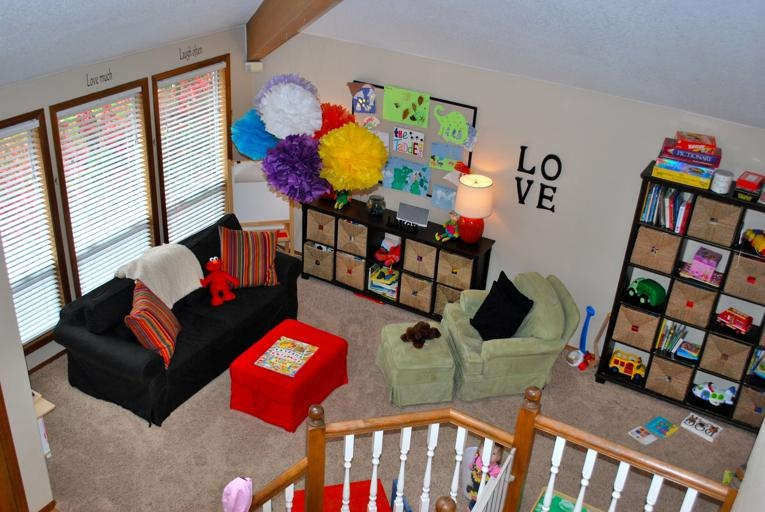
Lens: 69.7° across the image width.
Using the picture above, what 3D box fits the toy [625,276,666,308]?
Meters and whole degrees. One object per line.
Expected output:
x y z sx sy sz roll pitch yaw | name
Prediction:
2.956 0.414 6.266 0.449 0.280 0.276 23 32 39 | toy

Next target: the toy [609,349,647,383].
2.892 1.313 6.551 0.402 0.226 0.302 6 26 12 | toy

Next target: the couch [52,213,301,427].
-2.291 0.624 6.488 1.384 1.157 2.577 18 30 17 | couch

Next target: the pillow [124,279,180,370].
-2.399 0.729 5.720 0.509 0.694 0.546 5 19 -5 | pillow

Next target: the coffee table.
-0.989 1.217 5.816 0.959 0.619 1.256 16 31 22 | coffee table

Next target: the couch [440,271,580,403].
1.330 1.004 6.489 1.577 1.213 1.250 -7 56 -12 | couch

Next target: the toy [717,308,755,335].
3.780 0.721 5.958 0.330 0.170 0.234 30 40 32 | toy

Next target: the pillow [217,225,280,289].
-1.630 0.058 6.609 0.750 0.763 0.266 -2 -4 -15 | pillow

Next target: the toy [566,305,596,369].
2.472 1.003 6.740 0.313 0.769 0.301 15 18 29 | toy

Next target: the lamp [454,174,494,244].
1.105 -0.543 6.804 0.466 0.850 0.424 4 19 -8 | lamp

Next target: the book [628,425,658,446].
2.790 1.946 5.913 0.258 0.067 0.222 -6 22 -32 | book

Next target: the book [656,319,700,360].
3.325 0.928 6.224 0.516 0.468 0.122 14 -4 -3 | book

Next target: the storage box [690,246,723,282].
3.434 0.063 5.905 0.329 0.320 0.328 17 48 21 | storage box

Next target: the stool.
0.344 1.169 6.110 0.789 0.611 0.982 -5 35 -10 | stool

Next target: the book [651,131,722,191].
3.044 -0.928 5.512 0.584 0.409 0.577 15 55 16 | book

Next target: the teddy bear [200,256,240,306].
-1.929 0.316 6.450 0.424 0.575 0.175 -19 1 -36 | teddy bear

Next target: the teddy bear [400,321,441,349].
0.414 0.895 6.137 0.315 0.126 0.313 -20 27 -41 | teddy bear

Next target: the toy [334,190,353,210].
-0.536 -0.733 7.377 0.182 0.202 0.462 9 -10 -6 | toy

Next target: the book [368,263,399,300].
0.025 0.365 7.551 0.446 0.219 0.444 17 24 29 | book

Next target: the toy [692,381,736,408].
3.756 1.551 6.249 0.360 0.183 0.277 7 13 22 | toy
